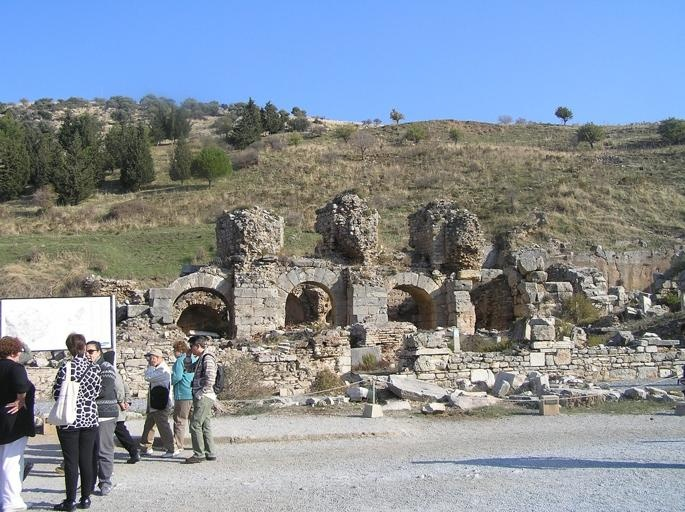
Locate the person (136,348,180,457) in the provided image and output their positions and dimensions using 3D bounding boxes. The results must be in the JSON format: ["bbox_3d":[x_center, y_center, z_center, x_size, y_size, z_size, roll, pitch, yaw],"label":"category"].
[{"bbox_3d":[-6.168,4.945,38.835,1.437,3.493,1.166,0,0,26],"label":"person"}]
